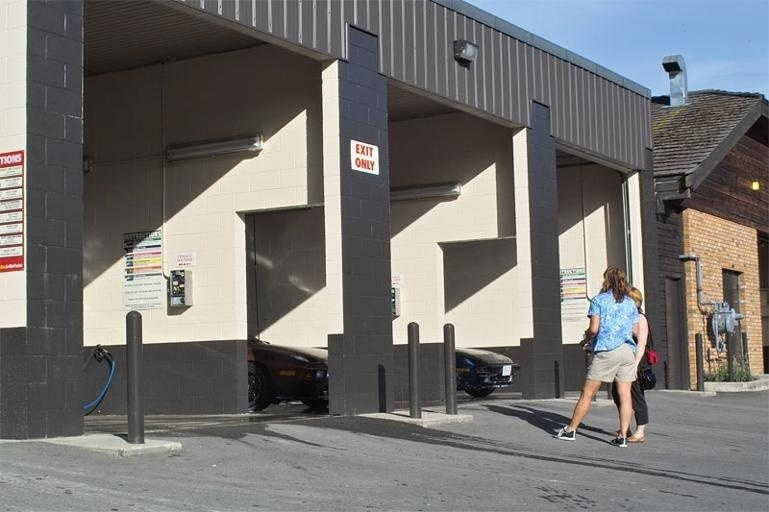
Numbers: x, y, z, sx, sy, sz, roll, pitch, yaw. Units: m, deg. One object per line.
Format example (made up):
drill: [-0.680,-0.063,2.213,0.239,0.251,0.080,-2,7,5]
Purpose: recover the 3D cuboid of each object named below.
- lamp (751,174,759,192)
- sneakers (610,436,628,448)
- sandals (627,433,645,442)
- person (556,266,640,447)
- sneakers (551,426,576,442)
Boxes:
lamp: [10.258,-1.981,26.514,0.110,0.432,0.691,-6,-13,34]
sneakers: [3.097,2.459,12.714,0.096,0.114,0.261,1,-1,-35]
sandals: [3.450,2.464,13.032,0.314,0.114,0.113,7,-10,-21]
person: [2.907,1.308,12.621,0.852,2.329,0.630,-1,-10,11]
sneakers: [2.408,2.405,12.984,0.338,0.158,0.137,2,-2,39]
